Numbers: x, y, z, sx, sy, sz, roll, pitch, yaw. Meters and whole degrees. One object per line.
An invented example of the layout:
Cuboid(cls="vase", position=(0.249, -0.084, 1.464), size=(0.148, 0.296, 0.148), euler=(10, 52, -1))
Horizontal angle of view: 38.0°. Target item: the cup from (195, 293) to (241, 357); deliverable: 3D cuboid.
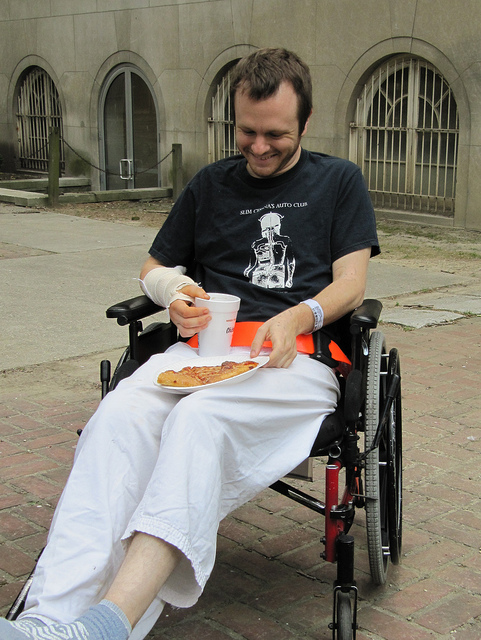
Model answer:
Cuboid(cls="cup", position=(-0.069, 0.017, 2.094), size=(0.148, 0.179, 0.190), euler=(-5, 18, -13))
